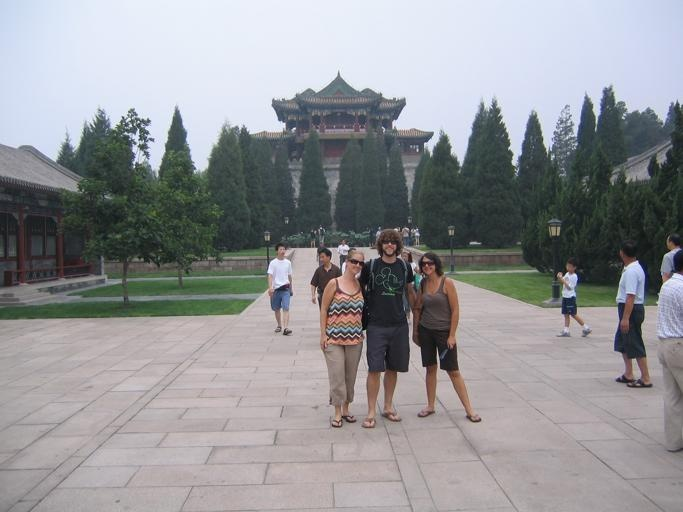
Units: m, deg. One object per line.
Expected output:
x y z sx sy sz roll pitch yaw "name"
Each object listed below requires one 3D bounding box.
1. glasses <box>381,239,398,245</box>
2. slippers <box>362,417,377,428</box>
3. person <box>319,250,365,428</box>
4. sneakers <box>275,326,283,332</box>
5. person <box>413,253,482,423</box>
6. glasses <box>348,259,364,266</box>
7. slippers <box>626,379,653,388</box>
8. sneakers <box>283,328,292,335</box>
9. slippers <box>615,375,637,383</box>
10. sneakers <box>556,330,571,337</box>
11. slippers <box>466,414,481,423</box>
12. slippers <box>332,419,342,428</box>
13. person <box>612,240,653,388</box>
0.636 -0.182 7.306 0.191 0.074 0.067 -1 4 6 "glasses"
0.355 2.132 7.335 0.183 0.116 0.263 -1 4 3 "slippers"
0.025 0.918 7.336 0.560 1.961 0.325 -1 4 -2 "person"
-1.466 1.714 13.209 0.093 0.123 0.292 -1 -7 0 "sneakers"
1.380 1.028 7.566 0.854 2.194 0.652 2 5 36 "person"
0.223 0.080 7.284 0.219 0.107 0.096 -4 5 -34 "glasses"
4.533 1.945 8.549 0.347 0.125 0.146 2 -8 0 "slippers"
-1.219 1.695 12.785 0.183 0.140 0.284 -2 4 -6 "sneakers"
4.409 1.903 8.730 0.221 0.095 0.120 1 -4 17 "slippers"
4.828 1.646 12.144 0.370 0.161 0.131 -2 -1 33 "sneakers"
1.743 2.104 7.376 0.200 0.078 0.174 -1 4 8 "slippers"
-0.052 2.149 7.332 0.147 0.092 0.191 -1 4 0 "slippers"
4.489 0.862 8.620 0.509 2.194 0.991 1 5 27 "person"
